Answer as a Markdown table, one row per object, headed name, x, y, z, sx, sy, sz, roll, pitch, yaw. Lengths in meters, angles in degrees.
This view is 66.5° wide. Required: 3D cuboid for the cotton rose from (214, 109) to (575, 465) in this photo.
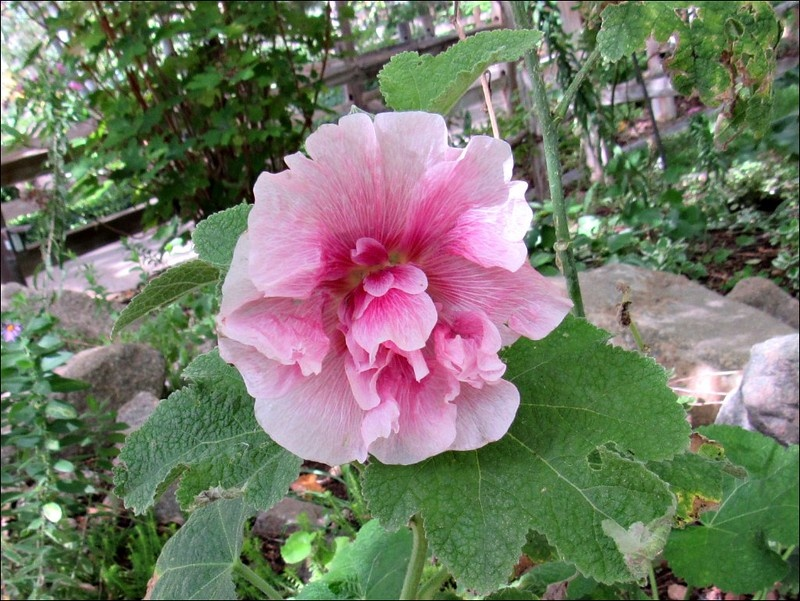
| name | x | y | z | sx | sy | sz | roll | pitch | yaw |
| --- | --- | --- | --- | --- | --- | --- | --- | --- | --- |
| cotton rose | 0.044 | -0.003 | 0.758 | 0.173 | 0.362 | 0.382 | 10 | 11 | 14 |
